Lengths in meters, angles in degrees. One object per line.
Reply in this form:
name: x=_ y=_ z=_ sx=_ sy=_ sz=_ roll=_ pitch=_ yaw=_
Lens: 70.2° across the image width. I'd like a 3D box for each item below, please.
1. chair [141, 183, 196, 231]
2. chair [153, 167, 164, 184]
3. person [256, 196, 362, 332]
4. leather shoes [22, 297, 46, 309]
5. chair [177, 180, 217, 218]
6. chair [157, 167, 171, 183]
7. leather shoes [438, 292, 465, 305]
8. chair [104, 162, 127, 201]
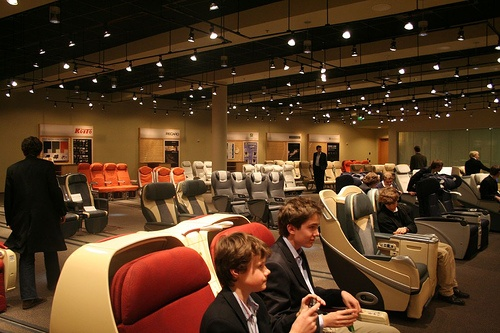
chair: x=-1.656 y=0.718 z=6.787 sx=0.862 sy=1.180 sz=0.840 roll=-11 pitch=-8 yaw=39
chair: x=-3.430 y=0.328 z=13.214 sx=0.418 sy=0.630 sz=0.506 roll=5 pitch=1 yaw=-30
person: x=0.635 y=0.807 z=3.564 sx=0.925 sy=1.446 sz=1.028 roll=-4 pitch=-2 yaw=14
leather shoes: x=-3.022 y=1.881 z=4.984 sx=0.097 sy=0.129 sz=0.278 roll=2 pitch=2 yaw=32
chair: x=-1.206 y=0.667 z=7.457 sx=0.634 sy=0.985 sz=0.753 roll=1 pitch=0 yaw=-40
chair: x=-3.342 y=0.339 z=13.611 sx=0.441 sy=0.662 sz=0.516 roll=-3 pitch=-2 yaw=-35
leather shoes: x=2.926 y=1.918 z=5.218 sx=0.354 sy=0.160 sz=0.128 roll=-2 pitch=-4 yaw=22
chair: x=-5.620 y=0.453 z=14.459 sx=0.995 sy=1.352 sz=0.877 roll=4 pitch=1 yaw=45
